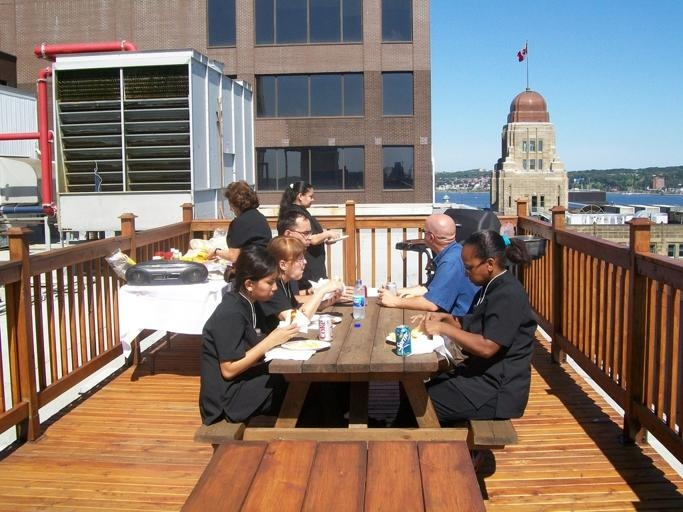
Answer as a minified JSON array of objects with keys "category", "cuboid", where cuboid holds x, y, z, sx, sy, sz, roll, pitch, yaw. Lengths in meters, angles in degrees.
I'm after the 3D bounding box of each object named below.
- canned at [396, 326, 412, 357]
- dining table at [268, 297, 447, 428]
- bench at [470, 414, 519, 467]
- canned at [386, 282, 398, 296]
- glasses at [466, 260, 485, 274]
[{"category":"canned","cuboid":[0.428,0.569,4.244,0.107,0.199,0.143,0,11,5]},{"category":"dining table","cuboid":[0.136,0.762,4.621,0.985,0.845,1.662,0,4,1]},{"category":"bench","cuboid":[1.077,1.315,4.393,0.242,0.244,0.477,-1,12,4]},{"category":"canned","cuboid":[0.458,0.293,5.661,0.095,0.169,0.102,-1,-2,-1]},{"category":"glasses","cuboid":[0.952,0.075,4.422,0.091,0.077,0.075,-8,6,3]}]
